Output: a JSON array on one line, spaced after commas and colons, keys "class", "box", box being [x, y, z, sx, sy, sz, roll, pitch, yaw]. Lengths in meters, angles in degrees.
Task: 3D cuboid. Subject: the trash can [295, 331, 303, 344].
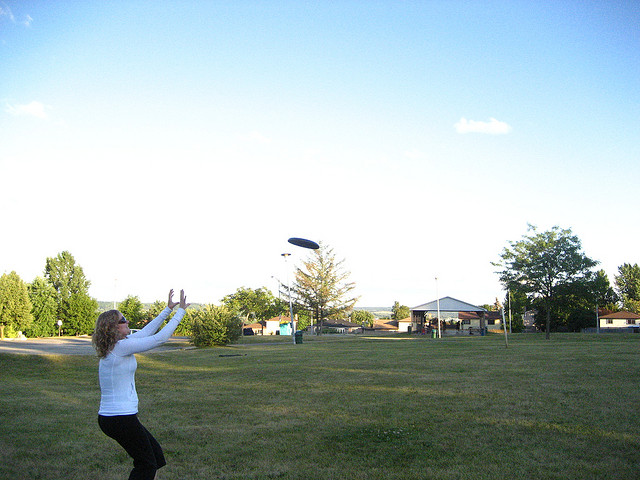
[{"class": "trash can", "box": [-1.910, 8.727, 49.344, 0.550, 1.043, 1.175, 3, -12, -10]}]

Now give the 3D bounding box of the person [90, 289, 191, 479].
[{"class": "person", "box": [-3.234, 2.434, 9.479, 1.377, 3.275, 0.961, 6, -12, -25]}]
